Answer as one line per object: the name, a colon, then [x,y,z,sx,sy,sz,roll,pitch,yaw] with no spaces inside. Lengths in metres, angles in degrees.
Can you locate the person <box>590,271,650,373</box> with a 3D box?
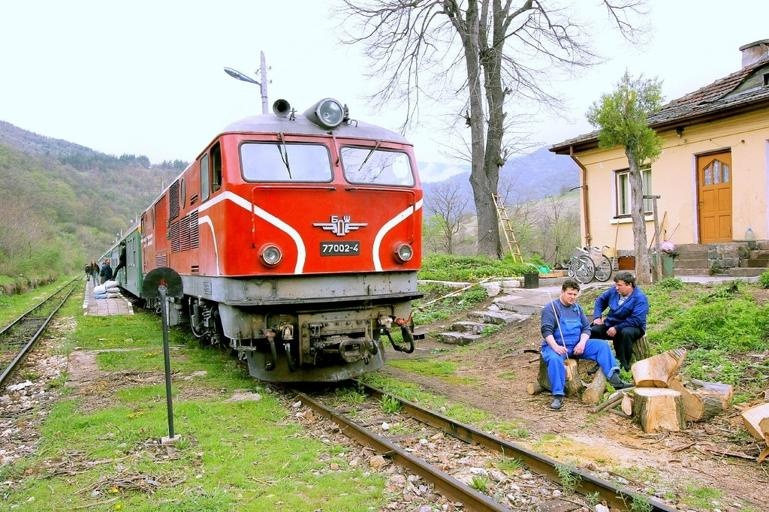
person: [4.107,1.163,9.363,1.021,1.690,0.957,0,5,-23]

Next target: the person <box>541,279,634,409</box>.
person: [3.280,1.397,8.894,1.206,1.897,1.068,-1,9,3]

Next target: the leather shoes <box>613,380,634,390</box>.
leather shoes: [3.935,2.126,8.661,0.335,0.104,0.216,-5,10,-17]

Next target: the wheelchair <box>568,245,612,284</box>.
wheelchair: [6.933,0.266,17.448,1.009,1.314,2.108,0,6,-8]

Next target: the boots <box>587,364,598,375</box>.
boots: [3.658,2.002,9.255,0.168,0.072,0.261,-4,7,23]
